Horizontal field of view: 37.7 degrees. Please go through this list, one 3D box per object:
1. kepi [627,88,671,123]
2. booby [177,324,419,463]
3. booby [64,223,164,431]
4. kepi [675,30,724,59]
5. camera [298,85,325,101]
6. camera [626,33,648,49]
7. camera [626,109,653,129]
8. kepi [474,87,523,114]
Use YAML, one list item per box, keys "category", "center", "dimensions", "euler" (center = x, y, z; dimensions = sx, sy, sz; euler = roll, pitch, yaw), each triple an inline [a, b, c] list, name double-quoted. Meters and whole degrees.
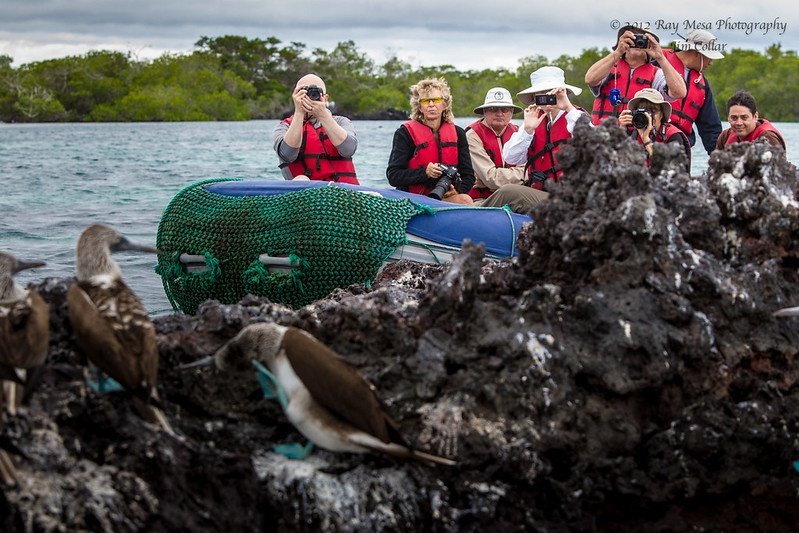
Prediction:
- category: "kepi"
  center: [3.136, -2.021, 14.437]
  dimensions: [0.426, 0.166, 0.496]
  euler: [-10, -36, 34]
- category: "booby"
  center: [-0.741, 1.309, 11.808]
  dimensions: [3.219, 1.087, 0.849]
  euler: [12, -4, 15]
- category: "booby"
  center: [-2.753, 0.611, 11.913]
  dimensions: [1.020, 1.942, 1.315]
  euler: [7, -3, -29]
- category: "kepi"
  center: [3.965, -2.958, 15.543]
  dimensions: [0.583, 0.377, 0.504]
  euler: [10, 15, 22]
- category: "camera"
  center: [-1.100, -2.220, 15.012]
  dimensions: [0.300, 0.150, 0.202]
  euler: [-1, 9, -22]
- category: "camera"
  center: [3.104, -2.890, 15.210]
  dimensions: [0.324, 0.234, 0.174]
  euler: [5, 11, 22]
- category: "camera"
  center: [2.929, -1.781, 14.161]
  dimensions: [0.266, 0.211, 0.249]
  euler: [0, 0, 9]
- category: "kepi"
  center: [1.347, -2.251, 15.989]
  dimensions: [0.609, 0.220, 0.540]
  euler: [1, -7, 0]
